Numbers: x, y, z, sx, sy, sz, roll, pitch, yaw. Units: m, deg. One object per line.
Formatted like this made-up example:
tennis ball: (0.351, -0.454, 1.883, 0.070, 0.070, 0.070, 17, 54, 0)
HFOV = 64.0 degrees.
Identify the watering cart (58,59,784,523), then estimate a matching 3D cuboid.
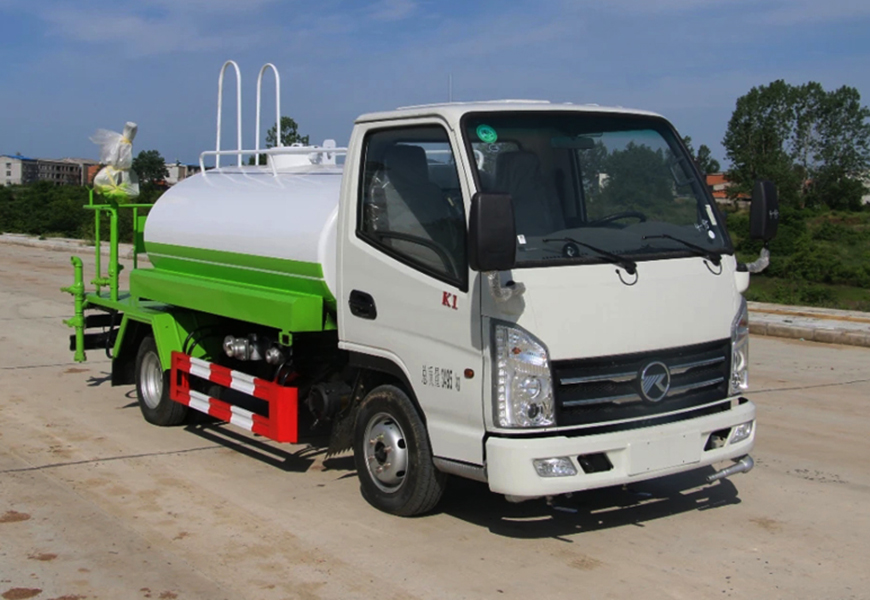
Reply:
watering cart: (-0.978, -0.058, 8.747, 3.544, 4.336, 8.792, -3, 6, -39)

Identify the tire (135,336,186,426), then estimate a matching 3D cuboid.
tire: (-3.294, 0.985, 8.418, 0.333, 1.119, 0.952, -2, 6, -38)

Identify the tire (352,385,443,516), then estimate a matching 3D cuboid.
tire: (-0.291, 1.287, 5.913, 0.434, 0.967, 0.918, 6, 11, -43)
